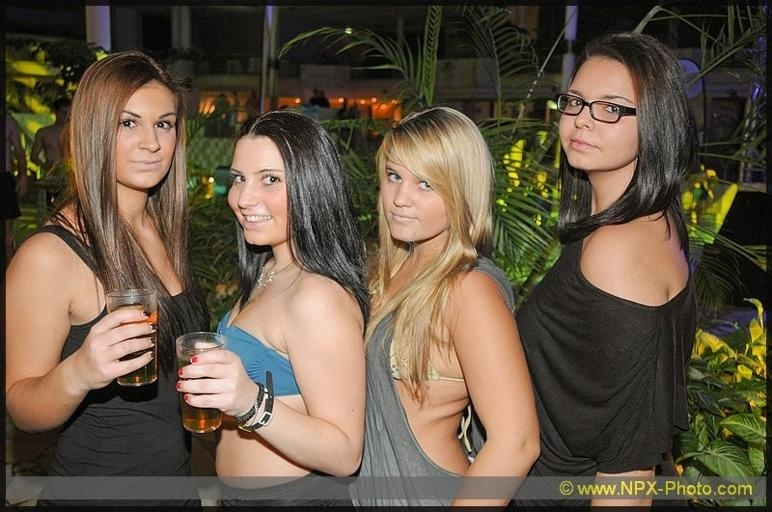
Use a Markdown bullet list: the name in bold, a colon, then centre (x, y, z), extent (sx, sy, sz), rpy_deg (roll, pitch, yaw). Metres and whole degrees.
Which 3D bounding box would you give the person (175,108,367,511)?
- **person**: centre (-0.437, 0.121, 2.670), extent (0.738, 1.532, 0.944), rpy_deg (1, 14, -6)

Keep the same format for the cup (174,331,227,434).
- **cup**: centre (-0.764, 0.549, 2.426), extent (0.184, 0.508, 0.220), rpy_deg (-2, 15, -19)

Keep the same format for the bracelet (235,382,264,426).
- **bracelet**: centre (-0.514, 0.616, 2.372), extent (0.049, 0.152, 0.149), rpy_deg (35, -43, -29)

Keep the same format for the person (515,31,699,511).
- **person**: centre (1.081, 0.089, 2.761), extent (0.845, 2.255, 0.792), rpy_deg (12, 17, 31)

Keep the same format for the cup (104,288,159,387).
- **cup**: centre (-1.062, 0.354, 2.467), extent (0.188, 0.434, 0.197), rpy_deg (3, 14, -1)
